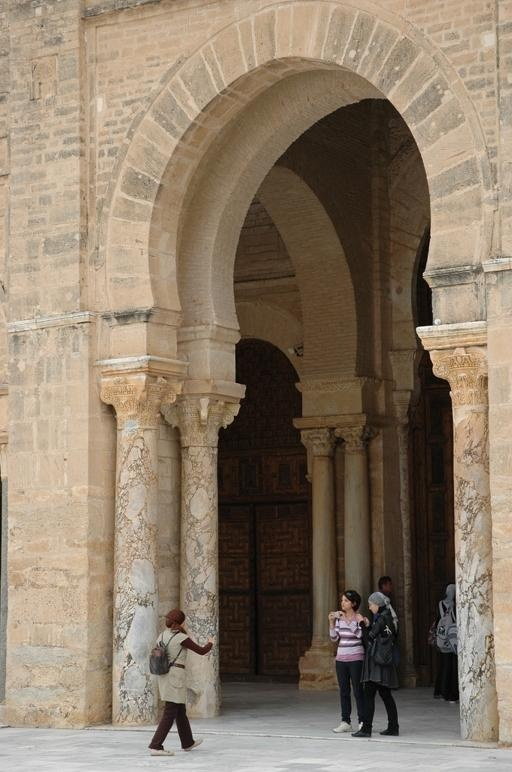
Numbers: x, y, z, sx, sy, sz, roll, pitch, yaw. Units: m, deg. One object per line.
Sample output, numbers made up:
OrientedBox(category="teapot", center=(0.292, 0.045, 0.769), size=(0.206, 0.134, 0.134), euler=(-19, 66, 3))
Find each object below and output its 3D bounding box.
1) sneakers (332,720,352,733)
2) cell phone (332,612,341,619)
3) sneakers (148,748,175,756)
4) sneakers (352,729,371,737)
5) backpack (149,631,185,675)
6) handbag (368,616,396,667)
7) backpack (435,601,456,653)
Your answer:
OrientedBox(category="sneakers", center=(0.582, 2.294, 9.111), size=(0.159, 0.092, 0.057), euler=(11, -14, -40))
OrientedBox(category="cell phone", center=(0.528, 1.516, 8.977), size=(0.062, 0.033, 0.043), euler=(-2, -1, 8))
OrientedBox(category="sneakers", center=(-0.565, 2.174, 8.102), size=(0.138, 0.065, 0.056), euler=(1, -2, -7))
OrientedBox(category="sneakers", center=(0.680, 2.243, 8.786), size=(0.125, 0.063, 0.176), euler=(-3, -10, 3))
OrientedBox(category="backpack", center=(-0.553, 1.660, 8.230), size=(0.241, 0.260, 0.157), euler=(8, -28, -40))
OrientedBox(category="handbag", center=(0.808, 1.656, 8.735), size=(0.136, 0.304, 0.213), euler=(-10, -26, 28))
OrientedBox(category="backpack", center=(1.602, 2.060, 11.531), size=(0.160, 0.442, 0.420), euler=(-3, -10, 7))
